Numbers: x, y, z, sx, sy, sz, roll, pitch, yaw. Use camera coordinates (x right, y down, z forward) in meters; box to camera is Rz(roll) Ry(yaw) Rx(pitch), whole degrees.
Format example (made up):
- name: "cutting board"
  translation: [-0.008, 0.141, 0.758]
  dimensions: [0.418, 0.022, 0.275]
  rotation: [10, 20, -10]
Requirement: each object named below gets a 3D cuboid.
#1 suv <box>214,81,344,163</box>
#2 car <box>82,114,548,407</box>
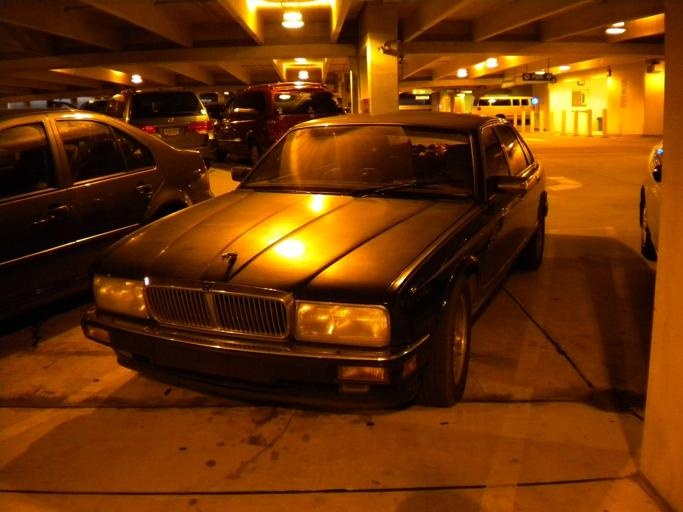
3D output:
- name: "suv"
  translation: [-2.224, -4.128, 15.030]
  dimensions: [2.407, 1.667, 4.938]
  rotation: [-10, 19, -23]
- name: "car"
  translation: [0.024, -0.064, 3.565]
  dimensions: [1.971, 1.756, 2.696]
  rotation: [10, 22, 34]
